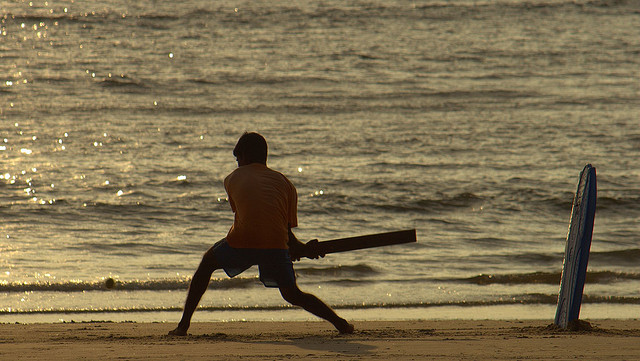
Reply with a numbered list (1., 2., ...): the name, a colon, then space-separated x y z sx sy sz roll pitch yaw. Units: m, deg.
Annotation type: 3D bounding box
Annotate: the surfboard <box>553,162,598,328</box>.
1. surfboard: 11.383 3.235 83.085 0.902 8.465 2.110 11 -16 -7
